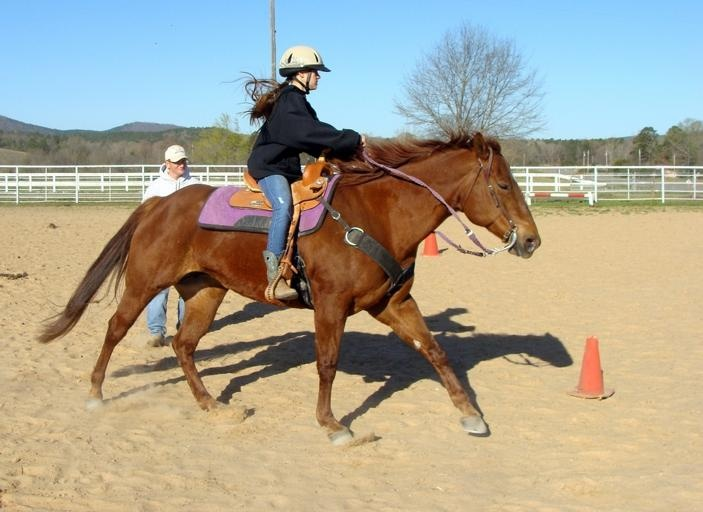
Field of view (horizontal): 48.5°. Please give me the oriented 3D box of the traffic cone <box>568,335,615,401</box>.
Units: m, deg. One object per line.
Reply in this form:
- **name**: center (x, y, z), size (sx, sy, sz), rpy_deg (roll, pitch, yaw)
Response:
- **traffic cone**: center (2.732, 1.255, 8.800), size (0.458, 0.658, 0.336), rpy_deg (1, 9, 17)

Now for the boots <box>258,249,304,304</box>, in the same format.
- **boots**: center (-0.692, 0.210, 7.761), size (0.334, 0.564, 0.296), rpy_deg (-2, 8, -6)

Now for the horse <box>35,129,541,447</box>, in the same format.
- **horse**: center (-0.452, 0.319, 8.035), size (4.639, 3.050, 0.989), rpy_deg (1, 8, 13)

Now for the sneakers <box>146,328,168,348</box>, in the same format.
- **sneakers**: center (-2.565, 1.088, 10.312), size (0.288, 0.352, 0.206), rpy_deg (1, -4, -15)

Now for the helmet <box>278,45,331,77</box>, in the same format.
- **helmet**: center (-0.470, -2.001, 7.926), size (0.562, 0.285, 0.400), rpy_deg (4, 18, 29)

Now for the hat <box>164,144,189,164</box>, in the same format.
- **hat**: center (-2.273, -1.322, 10.041), size (0.214, 0.143, 0.284), rpy_deg (-4, 6, -39)

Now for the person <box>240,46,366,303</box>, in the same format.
- **person**: center (-0.528, -0.814, 7.807), size (1.056, 2.526, 0.816), rpy_deg (-2, 8, -1)
